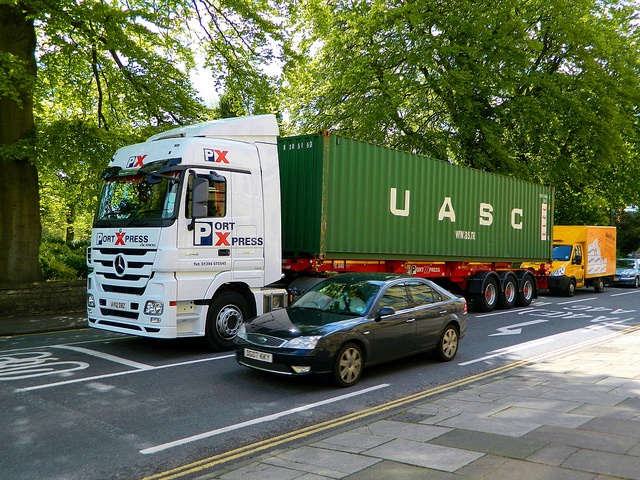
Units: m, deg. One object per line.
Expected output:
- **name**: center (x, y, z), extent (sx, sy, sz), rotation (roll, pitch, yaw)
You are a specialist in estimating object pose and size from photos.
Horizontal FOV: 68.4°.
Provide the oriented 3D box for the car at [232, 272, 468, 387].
- **car**: center (0.720, 1.557, 8.701), extent (3.685, 1.210, 1.762), rotation (4, -7, -42)
